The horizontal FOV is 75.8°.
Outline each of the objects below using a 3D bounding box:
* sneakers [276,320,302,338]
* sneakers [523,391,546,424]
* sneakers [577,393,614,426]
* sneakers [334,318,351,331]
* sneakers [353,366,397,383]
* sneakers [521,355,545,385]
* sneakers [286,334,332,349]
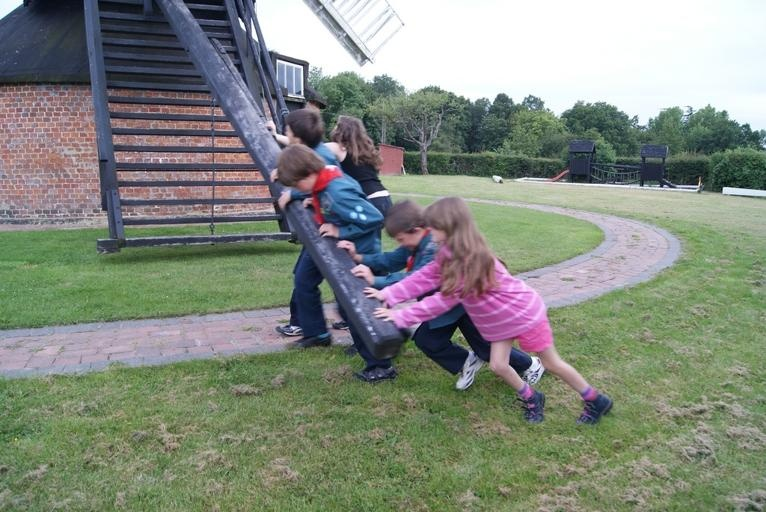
[{"bbox_3d":[-1.013,0.774,5.150,0.328,0.132,0.138,4,1,7],"label":"sneakers"},{"bbox_3d":[1.157,1.167,3.780,0.134,0.276,0.104,0,-5,-5],"label":"sneakers"},{"bbox_3d":[1.593,1.169,3.717,0.107,0.225,0.076,39,12,-16],"label":"sneakers"},{"bbox_3d":[-0.450,0.750,5.365,0.192,0.072,0.106,7,17,4],"label":"sneakers"},{"bbox_3d":[-0.046,1.008,4.196,0.271,0.102,0.141,3,-4,-8],"label":"sneakers"},{"bbox_3d":[1.227,0.985,4.123,0.158,0.328,0.114,7,11,-12],"label":"sneakers"},{"bbox_3d":[-0.702,0.840,4.764,0.420,0.167,0.150,4,1,-7],"label":"sneakers"}]
